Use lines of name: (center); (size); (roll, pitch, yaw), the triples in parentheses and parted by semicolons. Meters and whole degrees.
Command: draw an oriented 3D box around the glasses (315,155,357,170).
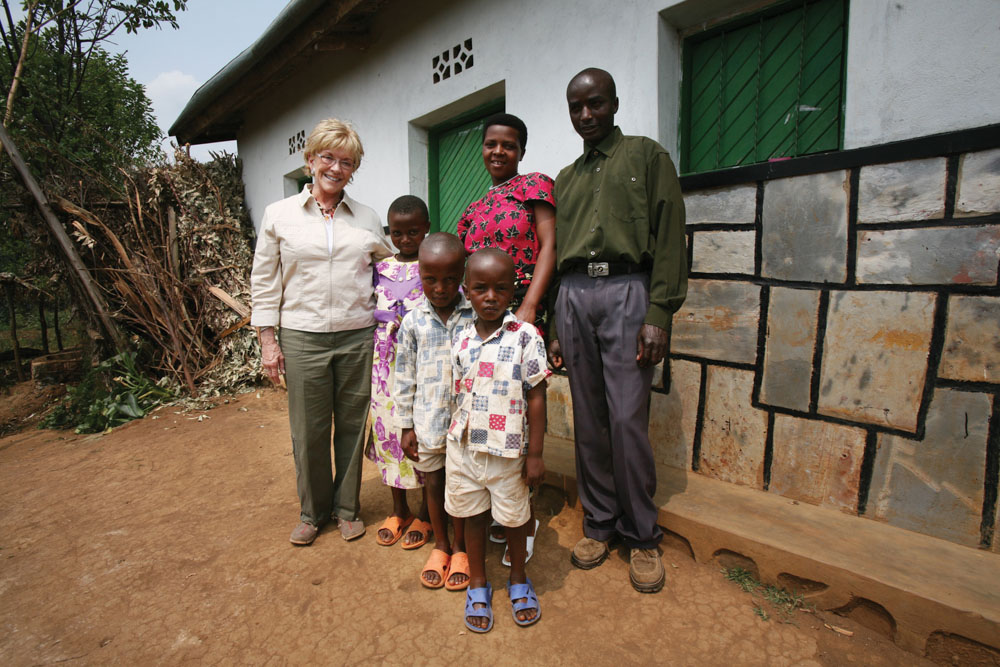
glasses: (-1.134, -1.179, 4.144); (0.282, 0.093, 0.094); (-4, 10, -16)

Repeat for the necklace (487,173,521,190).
necklace: (0.044, -1.024, 4.084); (0.133, 0.124, 0.163); (-2, 5, 13)

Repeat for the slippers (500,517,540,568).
slippers: (0.140, 1.403, 4.009); (0.140, 0.113, 0.400); (-1, 29, 23)

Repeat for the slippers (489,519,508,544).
slippers: (-0.023, 1.392, 4.177); (0.107, 0.059, 0.177); (6, 16, -11)

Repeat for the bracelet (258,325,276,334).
bracelet: (-1.629, -0.029, 4.159); (0.060, 0.047, 0.062); (2, 4, 17)

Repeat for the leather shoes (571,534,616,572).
leather shoes: (0.630, 1.458, 4.006); (0.117, 0.141, 0.330); (24, 1, 39)

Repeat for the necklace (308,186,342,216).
necklace: (-1.237, -0.911, 4.225); (0.195, 0.192, 0.230); (5, 6, -28)

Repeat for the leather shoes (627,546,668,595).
leather shoes: (0.920, 1.499, 3.764); (0.139, 0.139, 0.345); (-1, -1, 6)

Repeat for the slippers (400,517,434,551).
slippers: (-0.579, 1.399, 4.167); (0.216, 0.155, 0.562); (-1, -10, 3)

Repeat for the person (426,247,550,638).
person: (-0.021, 0.629, 3.627); (0.652, 2.263, 0.478); (-3, 10, -5)

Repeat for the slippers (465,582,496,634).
slippers: (-0.125, 1.660, 3.624); (0.138, 0.111, 0.270); (1, 14, 1)
